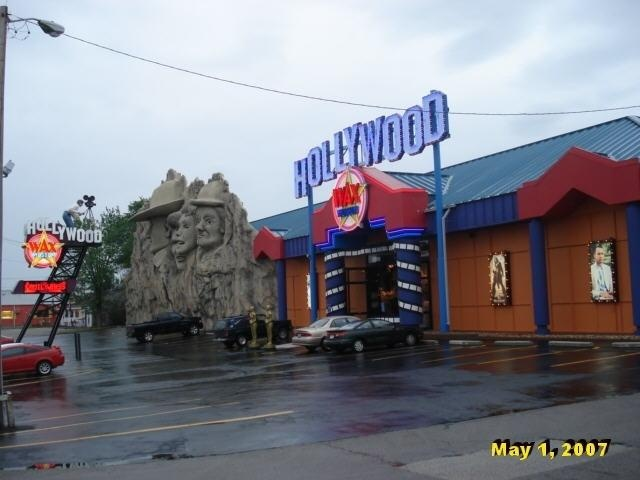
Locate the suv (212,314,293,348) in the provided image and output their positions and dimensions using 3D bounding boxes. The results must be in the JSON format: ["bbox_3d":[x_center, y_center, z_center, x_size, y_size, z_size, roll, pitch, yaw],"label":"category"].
[{"bbox_3d":[-3.965,5.126,36.104,4.792,1.863,1.774,2,-5,-41],"label":"suv"}]

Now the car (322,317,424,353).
[{"bbox_3d":[2.468,4.267,29.513,4.228,1.411,0.816,-2,-3,-25],"label":"car"}]

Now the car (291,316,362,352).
[{"bbox_3d":[0.126,4.473,31.490,1.656,1.493,4.533,-4,-5,45],"label":"car"}]

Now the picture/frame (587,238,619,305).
[{"bbox_3d":[12.821,1.427,29.503,0.276,2.865,1.422,5,-9,-23],"label":"picture/frame"}]
